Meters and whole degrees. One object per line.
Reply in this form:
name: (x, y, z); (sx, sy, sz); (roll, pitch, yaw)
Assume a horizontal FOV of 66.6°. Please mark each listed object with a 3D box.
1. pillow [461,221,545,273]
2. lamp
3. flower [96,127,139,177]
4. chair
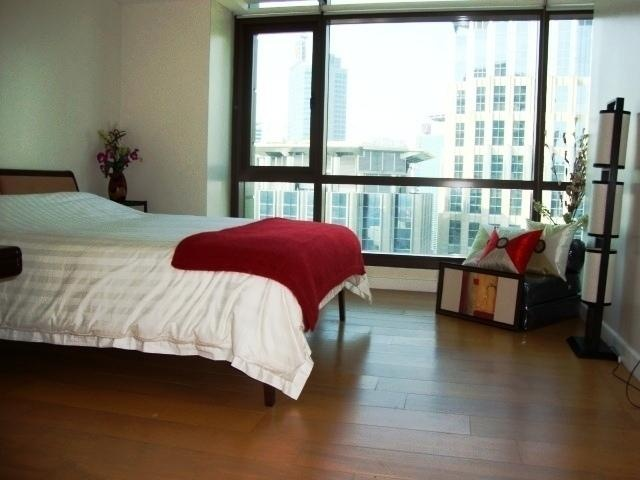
pillow: (1.536, 0.071, 4.008); (0.407, 0.335, 0.285); (12, 16, 42)
lamp: (1.974, -0.072, 3.358); (0.300, 1.757, 0.483); (6, 13, 24)
flower: (-2.047, -0.844, 4.966); (0.254, 0.405, 0.328); (-18, -3, -6)
chair: (1.454, 0.389, 4.315); (0.710, 0.433, 0.756); (8, 17, 22)
